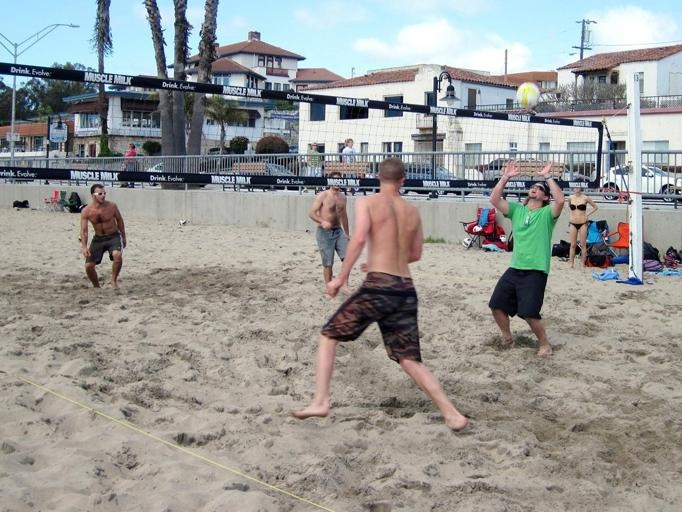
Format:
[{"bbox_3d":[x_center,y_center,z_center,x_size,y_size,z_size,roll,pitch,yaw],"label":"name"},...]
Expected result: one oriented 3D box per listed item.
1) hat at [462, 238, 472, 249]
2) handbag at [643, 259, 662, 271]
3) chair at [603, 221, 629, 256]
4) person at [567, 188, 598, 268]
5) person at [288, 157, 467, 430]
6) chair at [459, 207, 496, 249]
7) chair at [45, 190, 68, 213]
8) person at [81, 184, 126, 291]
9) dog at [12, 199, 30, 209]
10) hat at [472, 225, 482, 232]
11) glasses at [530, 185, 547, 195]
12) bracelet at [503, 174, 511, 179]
[{"bbox_3d":[2.177,-0.211,13.306,0.149,0.089,0.154,-4,15,-7],"label":"hat"},{"bbox_3d":[4.424,0.138,10.991,0.242,0.104,0.184,4,6,15],"label":"handbag"},{"bbox_3d":[4.195,-0.185,11.672,0.402,0.529,0.432,-7,10,11],"label":"chair"},{"bbox_3d":[3.562,-0.420,11.484,0.380,1.076,0.907,4,14,22],"label":"person"},{"bbox_3d":[0.338,0.263,5.953,1.079,1.921,0.815,-2,13,-1],"label":"person"},{"bbox_3d":[2.330,-0.439,13.104,0.586,0.698,0.602,-3,1,0],"label":"chair"},{"bbox_3d":[-7.497,-1.432,20.531,0.638,0.669,0.666,3,2,13],"label":"chair"},{"bbox_3d":[-3.090,-0.288,10.038,0.537,1.354,0.994,-6,13,-18],"label":"person"},{"bbox_3d":[-8.986,-1.464,21.788,0.424,0.215,0.452,-10,16,-32],"label":"dog"},{"bbox_3d":[2.309,-0.457,13.100,0.171,0.128,0.033,10,17,41],"label":"hat"},{"bbox_3d":[1.911,-0.647,7.398,0.109,0.121,0.034,4,23,32],"label":"glasses"},{"bbox_3d":[1.496,-0.712,6.963,0.047,0.038,0.049,0,0,7],"label":"bracelet"}]
